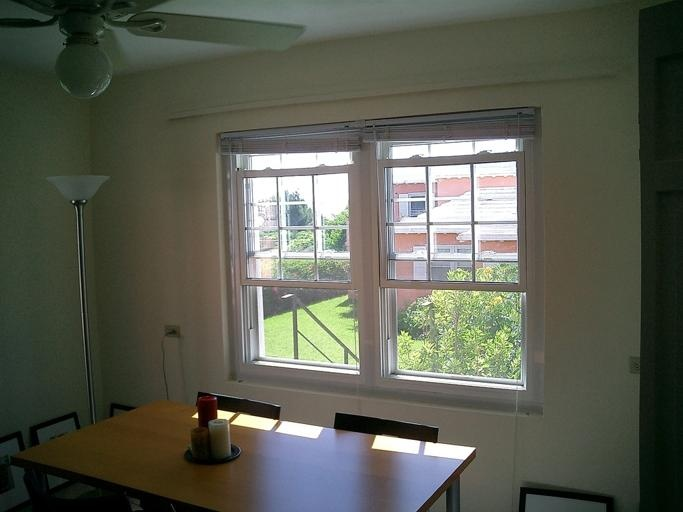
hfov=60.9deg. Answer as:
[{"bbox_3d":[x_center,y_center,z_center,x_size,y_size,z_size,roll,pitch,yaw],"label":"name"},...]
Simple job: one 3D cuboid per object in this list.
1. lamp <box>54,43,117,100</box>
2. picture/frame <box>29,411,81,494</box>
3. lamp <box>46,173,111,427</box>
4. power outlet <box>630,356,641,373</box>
[{"bbox_3d":[-1.095,-0.790,2.471,0.234,0.278,0.218,-5,-11,-29],"label":"lamp"},{"bbox_3d":[-2.007,1.345,4.063,0.331,0.393,0.020,-13,-14,1],"label":"picture/frame"},{"bbox_3d":[-1.682,0.249,3.941,0.352,1.622,0.988,-8,16,-26],"label":"lamp"},{"bbox_3d":[1.629,0.604,3.237,0.050,0.103,0.022,9,18,34],"label":"power outlet"}]
